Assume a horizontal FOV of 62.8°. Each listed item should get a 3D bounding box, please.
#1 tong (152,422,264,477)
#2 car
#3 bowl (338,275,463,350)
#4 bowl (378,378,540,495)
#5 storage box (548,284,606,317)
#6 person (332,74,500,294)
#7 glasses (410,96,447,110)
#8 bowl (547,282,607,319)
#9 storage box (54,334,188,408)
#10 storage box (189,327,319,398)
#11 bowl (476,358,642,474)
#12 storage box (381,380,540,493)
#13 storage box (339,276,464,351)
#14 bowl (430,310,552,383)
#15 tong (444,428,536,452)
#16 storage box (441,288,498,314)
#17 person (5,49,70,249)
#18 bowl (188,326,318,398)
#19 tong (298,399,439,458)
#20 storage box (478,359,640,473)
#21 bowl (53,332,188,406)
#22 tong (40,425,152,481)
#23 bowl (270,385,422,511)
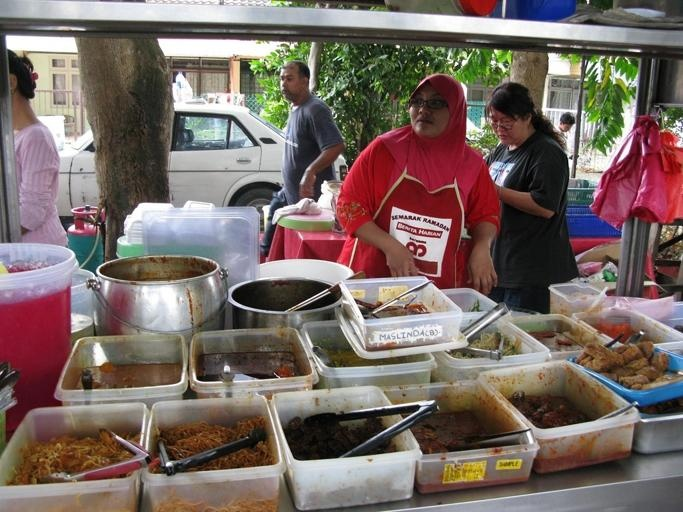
[{"bbox_3d":[-0.358,0.598,1.686,0.338,0.070,0.341,-15,-15,-27],"label":"tong"},{"bbox_3d":[-1.979,-1.348,7.513,3.184,1.270,1.866,2,15,-8],"label":"car"},{"bbox_3d":[0.226,0.212,1.941,0.298,0.089,0.297,0,19,0],"label":"bowl"},{"bbox_3d":[0.341,0.544,1.746,0.402,0.120,0.391,4,20,-1],"label":"bowl"},{"bbox_3d":[1.061,0.179,2.547,0.199,0.196,0.151,-1,7,-1],"label":"storage box"},{"bbox_3d":[0.447,-0.365,2.868,0.874,1.109,0.503,-7,14,-26],"label":"person"},{"bbox_3d":[0.435,-0.782,2.842,0.207,0.064,0.076,10,16,38],"label":"glasses"},{"bbox_3d":[1.062,0.184,2.525,0.198,0.195,0.152,-1,6,-7],"label":"bowl"},{"bbox_3d":[-0.702,0.411,1.861,0.391,0.138,0.339,1,20,-13],"label":"storage box"},{"bbox_3d":[-0.322,0.359,1.988,0.287,0.079,0.292,-2,17,-11],"label":"storage box"},{"bbox_3d":[0.766,0.520,1.837,0.313,0.127,0.376,-4,10,-14],"label":"bowl"},{"bbox_3d":[0.317,0.549,1.772,0.480,0.142,0.490,-3,13,-17],"label":"storage box"},{"bbox_3d":[0.226,0.212,1.936,0.301,0.090,0.299,-5,20,-15],"label":"storage box"},{"bbox_3d":[0.550,0.360,2.080,0.300,0.109,0.248,-7,16,-11],"label":"bowl"},{"bbox_3d":[0.450,0.556,1.733,0.248,0.074,0.114,-2,13,-6],"label":"tong"},{"bbox_3d":[0.578,0.191,2.487,0.170,0.056,0.115,-2,14,-9],"label":"storage box"},{"bbox_3d":[-1.788,-0.599,3.267,0.247,1.202,0.660,-7,14,-26],"label":"person"},{"bbox_3d":[-0.325,0.361,1.987,0.286,0.079,0.292,2,17,0],"label":"bowl"},{"bbox_3d":[0.128,0.497,1.660,0.254,0.047,0.188,-13,10,-16],"label":"tong"},{"bbox_3d":[0.689,0.528,1.901,0.452,0.165,0.515,-6,14,-21],"label":"storage box"},{"bbox_3d":[-0.724,0.378,1.916,0.301,0.104,0.263,-1,18,-11],"label":"bowl"},{"bbox_3d":[-0.619,0.527,1.475,0.139,0.042,0.170,5,8,39],"label":"tong"},{"bbox_3d":[-0.001,0.571,1.682,0.375,0.241,0.332,-5,14,-19],"label":"bowl"}]
